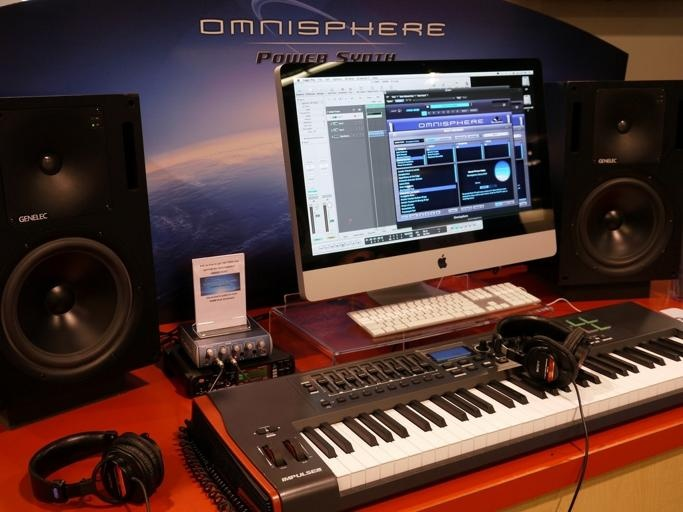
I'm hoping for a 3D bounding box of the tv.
[{"bbox_3d":[0.193,-0.197,1.330,0.716,0.461,0.110,-9,10,-23],"label":"tv"}]

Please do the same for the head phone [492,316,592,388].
[{"bbox_3d":[0.423,0.189,1.106,0.183,0.089,0.209,-6,18,-19],"label":"head phone"}]

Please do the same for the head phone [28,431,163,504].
[{"bbox_3d":[-0.400,0.341,0.881,0.159,0.063,0.138,-4,19,-4],"label":"head phone"}]
